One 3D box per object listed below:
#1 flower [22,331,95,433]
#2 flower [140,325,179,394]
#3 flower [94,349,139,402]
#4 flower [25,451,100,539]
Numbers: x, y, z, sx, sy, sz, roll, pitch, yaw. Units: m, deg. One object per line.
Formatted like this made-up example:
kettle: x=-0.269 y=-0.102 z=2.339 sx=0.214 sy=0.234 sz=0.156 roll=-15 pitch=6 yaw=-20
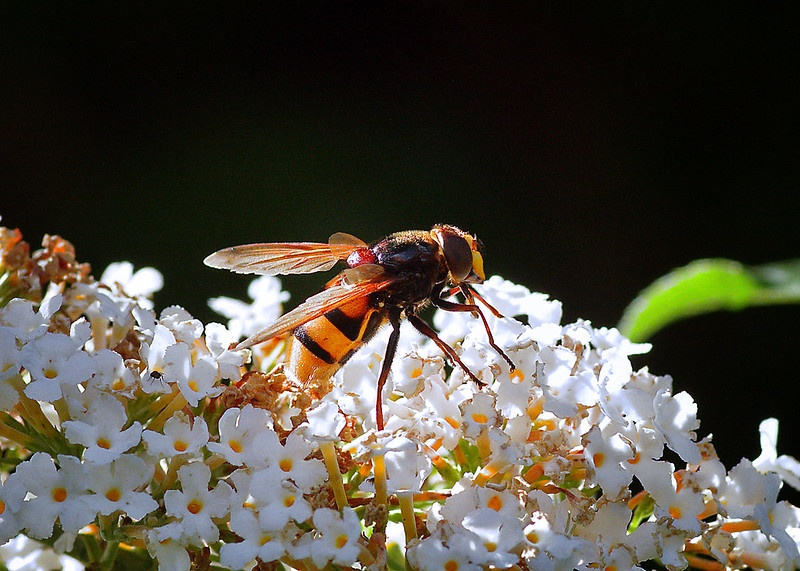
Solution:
flower: x=-0.550 y=0.153 z=1.293 sx=0.105 sy=0.113 sz=0.041 roll=-8 pitch=-30 yaw=-9
flower: x=-0.391 y=0.128 z=1.394 sx=0.085 sy=0.097 sz=0.046 roll=3 pitch=-17 yaw=34
flower: x=-0.472 y=0.156 z=1.338 sx=0.072 sy=0.077 sz=0.020 roll=-4 pitch=-17 yaw=-44
flower: x=-0.531 y=0.321 z=1.255 sx=0.117 sy=0.126 sz=0.031 roll=9 pitch=-36 yaw=-2
